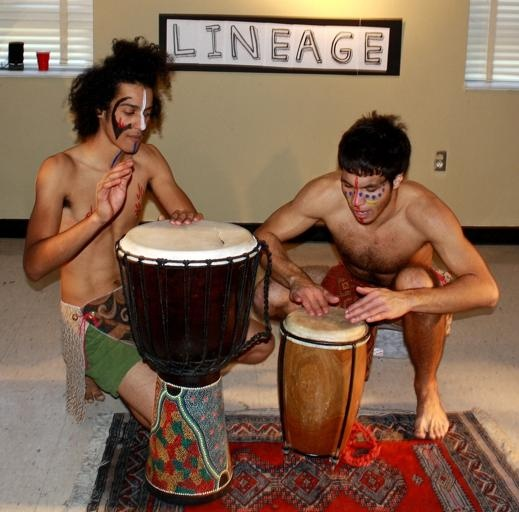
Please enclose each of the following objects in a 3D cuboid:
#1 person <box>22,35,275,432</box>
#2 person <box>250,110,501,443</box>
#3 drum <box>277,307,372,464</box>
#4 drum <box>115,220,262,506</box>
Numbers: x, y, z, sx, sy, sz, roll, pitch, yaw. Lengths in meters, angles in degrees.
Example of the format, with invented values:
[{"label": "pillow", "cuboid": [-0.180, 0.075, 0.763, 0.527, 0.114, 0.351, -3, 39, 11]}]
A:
[{"label": "person", "cuboid": [-0.383, -0.007, 1.603, 0.604, 1.185, 0.584, 11, 24, 15]}, {"label": "person", "cuboid": [0.431, 0.038, 1.978, 0.919, 1.158, 0.752, 13, 37, 26]}, {"label": "drum", "cuboid": [0.133, 0.313, 1.477, 0.290, 0.501, 0.333, 3, 26, 3]}, {"label": "drum", "cuboid": [-0.157, 0.263, 1.355, 0.387, 0.672, 0.303, -4, 19, -12]}]
